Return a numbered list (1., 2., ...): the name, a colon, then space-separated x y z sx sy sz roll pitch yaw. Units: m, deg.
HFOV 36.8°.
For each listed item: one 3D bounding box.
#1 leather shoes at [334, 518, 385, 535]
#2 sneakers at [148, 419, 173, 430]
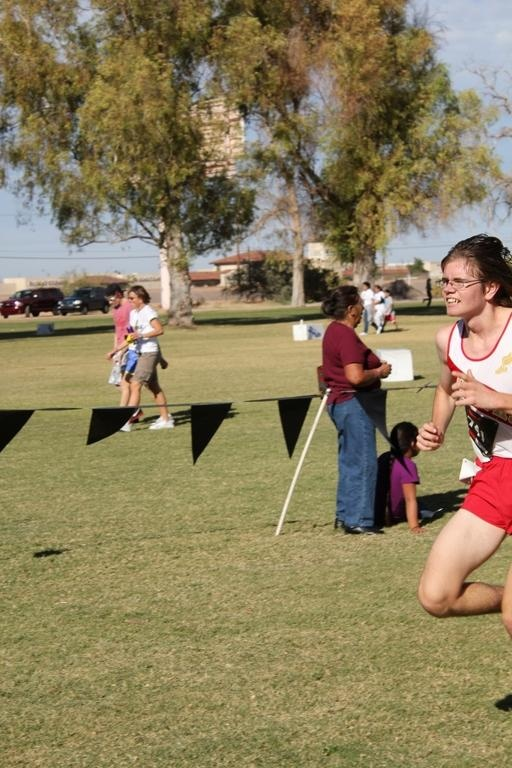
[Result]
1. leather shoes: 0.683 0.941 5.111 0.321 0.111 0.103 -3 -3 8
2. sneakers: -1.255 0.522 10.154 0.328 0.124 0.131 -1 0 1
